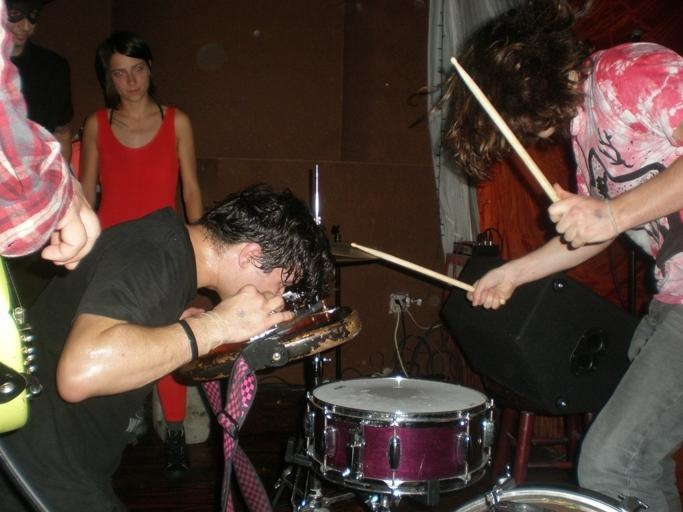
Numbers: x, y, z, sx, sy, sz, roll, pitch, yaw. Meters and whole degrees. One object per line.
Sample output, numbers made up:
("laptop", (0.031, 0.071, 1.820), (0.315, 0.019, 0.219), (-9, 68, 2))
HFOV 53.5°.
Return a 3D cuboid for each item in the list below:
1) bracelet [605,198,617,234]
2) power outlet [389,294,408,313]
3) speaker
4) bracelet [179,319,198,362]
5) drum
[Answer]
("bracelet", (0.883, -0.120, 2.220), (0.018, 0.079, 0.080), (-9, -24, 4))
("power outlet", (0.428, 0.340, 5.002), (0.150, 0.148, 0.053), (-2, 16, 4))
("speaker", (1.000, 0.446, 3.162), (0.625, 0.615, 0.690), (4, -12, -3))
("bracelet", (-0.463, 0.259, 2.070), (0.024, 0.099, 0.096), (-15, 49, 1))
("drum", (0.183, 0.682, 2.556), (0.488, 0.200, 0.496), (2, -2, 0))
